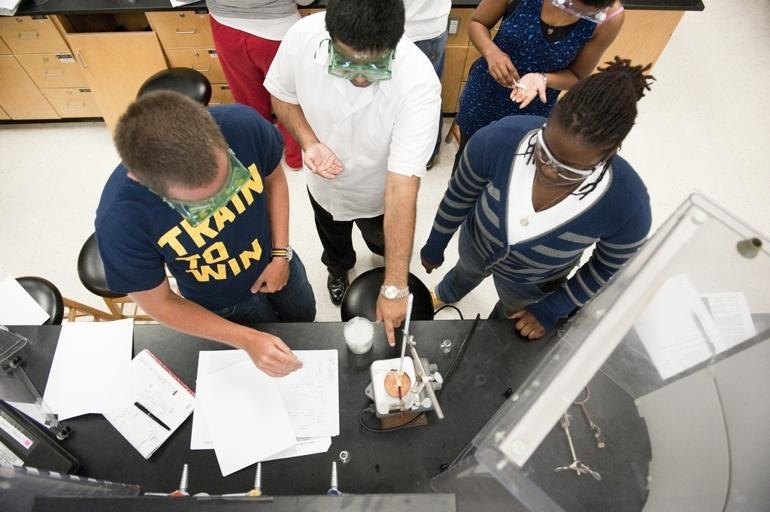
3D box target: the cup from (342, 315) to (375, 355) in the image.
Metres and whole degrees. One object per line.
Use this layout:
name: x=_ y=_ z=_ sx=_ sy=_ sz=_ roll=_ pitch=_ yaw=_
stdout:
cup: x=-0.121 y=0.360 z=2.425 sx=0.140 sy=0.114 sz=0.163 roll=-3 pitch=79 yaw=1

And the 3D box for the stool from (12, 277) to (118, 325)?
stool: x=-1.822 y=0.263 z=3.081 sx=0.208 sy=0.355 sz=0.203 roll=27 pitch=84 yaw=6

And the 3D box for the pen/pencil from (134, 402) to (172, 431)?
pen/pencil: x=-1.023 y=0.715 z=2.374 sx=0.131 sy=0.019 sz=0.021 roll=41 pitch=73 yaw=11

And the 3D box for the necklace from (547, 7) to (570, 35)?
necklace: x=0.879 y=-1.226 z=2.776 sx=0.082 sy=0.110 sz=0.044 roll=20 pitch=71 yaw=10

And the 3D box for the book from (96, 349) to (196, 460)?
book: x=-1.062 y=0.684 z=2.426 sx=0.348 sy=0.079 sz=0.356 roll=51 pitch=39 yaw=1

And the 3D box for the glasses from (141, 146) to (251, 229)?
glasses: x=-0.745 y=-0.279 z=2.320 sx=0.392 sy=0.242 sz=0.177 roll=-36 pitch=62 yaw=-27

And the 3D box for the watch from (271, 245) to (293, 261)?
watch: x=-0.525 y=-0.016 z=2.794 sx=0.070 sy=0.073 sz=0.046 roll=2 pitch=95 yaw=27

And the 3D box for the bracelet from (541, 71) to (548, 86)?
bracelet: x=0.862 y=-0.966 z=2.920 sx=0.020 sy=0.050 sz=0.061 roll=-2 pitch=90 yaw=28

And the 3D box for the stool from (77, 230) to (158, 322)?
stool: x=-1.713 y=0.140 z=3.385 sx=0.482 sy=0.498 sz=0.491 roll=-6 pitch=16 yaw=-30

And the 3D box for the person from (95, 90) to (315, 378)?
person: x=-0.827 y=-0.056 z=2.496 sx=0.762 sy=1.406 sz=0.638 roll=38 pitch=81 yaw=-6

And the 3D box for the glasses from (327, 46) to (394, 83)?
glasses: x=-0.113 y=-0.860 z=2.436 sx=0.293 sy=0.196 sz=0.109 roll=7 pitch=51 yaw=2

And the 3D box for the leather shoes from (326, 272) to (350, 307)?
leather shoes: x=-0.333 y=0.214 z=3.707 sx=0.104 sy=0.128 sz=0.337 roll=-1 pitch=98 yaw=0
